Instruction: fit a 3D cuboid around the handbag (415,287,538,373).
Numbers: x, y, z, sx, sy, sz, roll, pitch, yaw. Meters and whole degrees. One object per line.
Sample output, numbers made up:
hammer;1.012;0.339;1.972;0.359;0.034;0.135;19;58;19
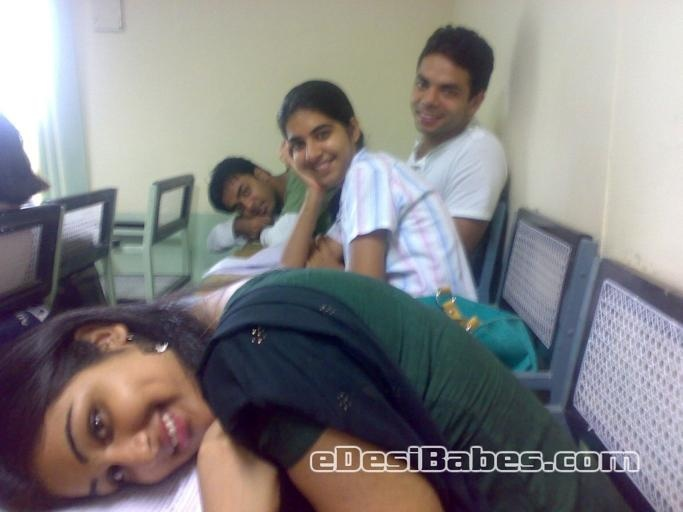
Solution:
handbag;0.262;0.166;0.920;0.189;0.069;0.151;25;21;-10
